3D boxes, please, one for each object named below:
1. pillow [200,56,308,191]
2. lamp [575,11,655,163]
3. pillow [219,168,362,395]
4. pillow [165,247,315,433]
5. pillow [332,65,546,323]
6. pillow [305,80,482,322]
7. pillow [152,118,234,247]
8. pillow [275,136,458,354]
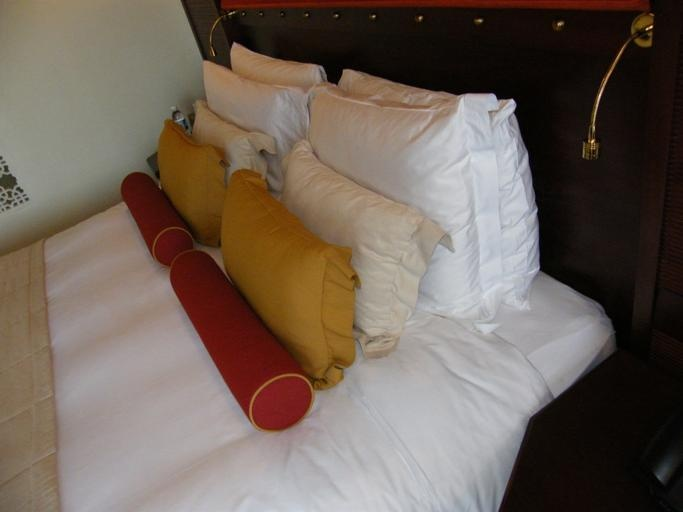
[{"bbox_3d":[-0.348,-0.532,2.145,0.157,0.367,0.550,-21,41,-33],"label":"pillow"},{"bbox_3d":[0.663,-0.403,1.298,0.098,0.320,0.215,23,49,30],"label":"lamp"},{"bbox_3d":[-0.143,0.092,1.510,0.166,0.335,0.551,-8,41,-36],"label":"pillow"},{"bbox_3d":[-0.360,0.218,1.659,0.196,0.201,0.791,-34,40,-15],"label":"pillow"},{"bbox_3d":[0.318,-0.138,1.508,0.603,0.687,0.241,15,17,41],"label":"pillow"},{"bbox_3d":[0.090,-0.216,1.785,0.698,0.661,0.235,21,18,38],"label":"pillow"},{"bbox_3d":[-0.587,-0.285,2.104,0.129,0.318,0.470,-5,38,-36],"label":"pillow"},{"bbox_3d":[0.093,-0.012,1.542,0.170,0.345,0.529,-13,42,-29],"label":"pillow"}]
